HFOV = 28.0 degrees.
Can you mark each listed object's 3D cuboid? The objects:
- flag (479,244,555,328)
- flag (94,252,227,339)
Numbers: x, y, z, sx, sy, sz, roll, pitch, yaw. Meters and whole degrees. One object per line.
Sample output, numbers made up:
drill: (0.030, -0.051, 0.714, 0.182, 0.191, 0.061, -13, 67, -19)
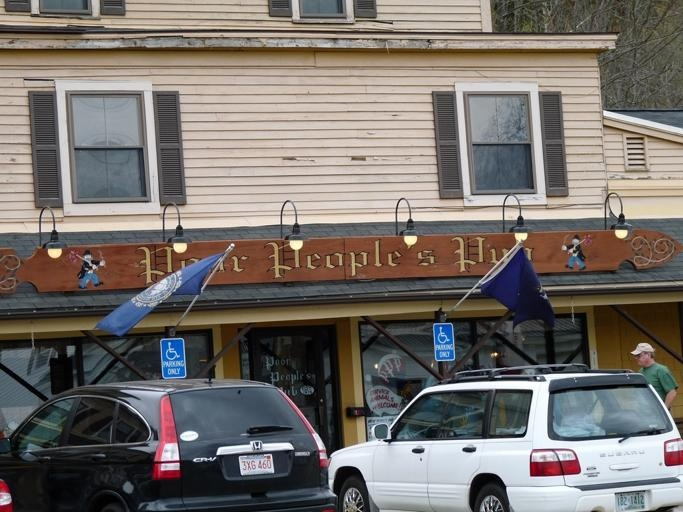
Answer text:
flag: (2.810, 0.394, 21.847, 1.118, 1.171, 0.588, 19, 40, 14)
flag: (-2.834, 0.521, 20.949, 1.138, 0.331, 1.120, -14, 14, 47)
